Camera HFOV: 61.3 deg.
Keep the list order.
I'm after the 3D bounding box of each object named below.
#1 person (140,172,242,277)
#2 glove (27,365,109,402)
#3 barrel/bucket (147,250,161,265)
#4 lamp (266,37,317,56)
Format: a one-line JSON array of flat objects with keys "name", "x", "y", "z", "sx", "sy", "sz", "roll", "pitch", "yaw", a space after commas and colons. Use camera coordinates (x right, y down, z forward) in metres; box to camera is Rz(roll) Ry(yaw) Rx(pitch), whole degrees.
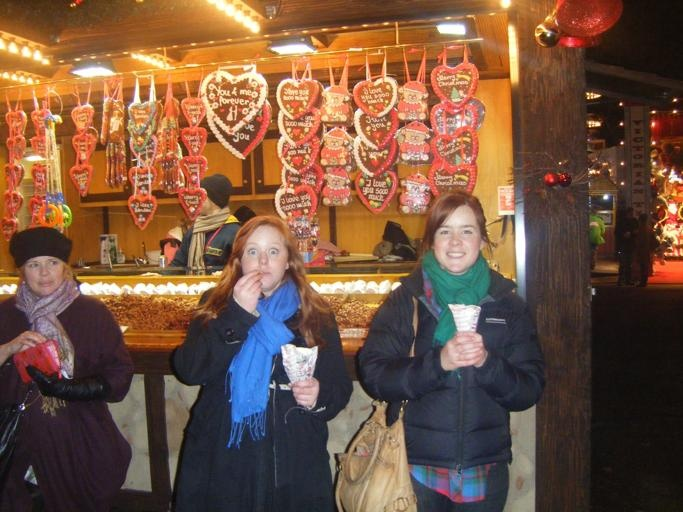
[{"name": "person", "x": -1.278, "y": -0.257, "z": 5.553, "sx": 0.780, "sy": 1.097, "sz": 0.479, "roll": 10, "pitch": 25, "yaw": 9}, {"name": "glove", "x": -1.506, "y": 0.693, "z": 3.200, "sx": 0.396, "sy": 0.219, "sz": 0.371, "roll": 1, "pitch": 6, "yaw": -25}, {"name": "barrel/bucket", "x": -2.350, "y": 0.028, "z": 7.248, "sx": 0.142, "sy": 0.141, "sz": 0.140, "roll": 1, "pitch": 8, "yaw": 0}, {"name": "lamp", "x": -0.409, "y": -1.739, "z": 4.762, "sx": 0.342, "sy": 0.100, "sz": 0.424, "roll": 2, "pitch": 12, "yaw": 5}]
